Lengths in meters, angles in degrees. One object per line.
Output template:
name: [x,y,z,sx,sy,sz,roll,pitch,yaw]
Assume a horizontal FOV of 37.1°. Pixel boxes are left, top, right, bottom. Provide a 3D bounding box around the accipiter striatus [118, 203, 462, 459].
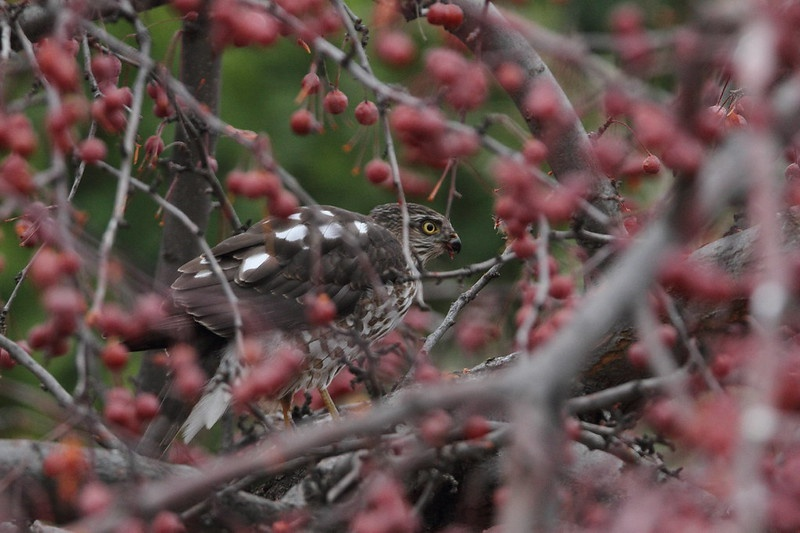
accipiter striatus: [-0.477,0.114,5.852,2.002,0.723,1.293,-4,84,-18]
